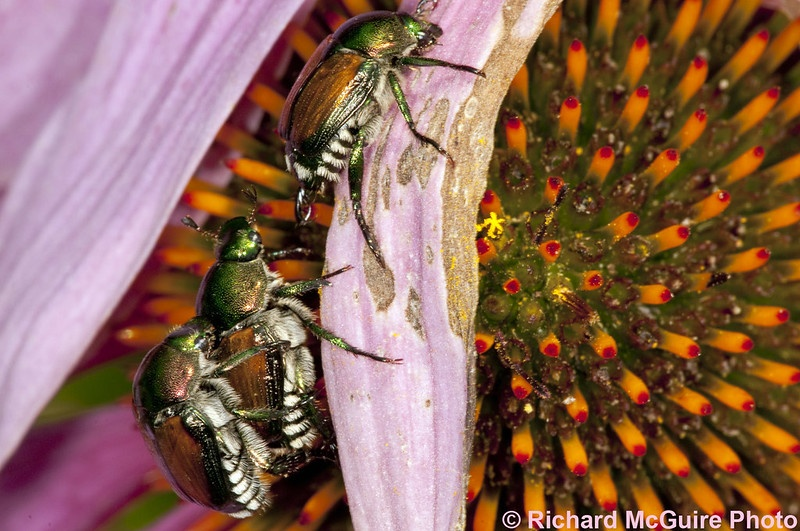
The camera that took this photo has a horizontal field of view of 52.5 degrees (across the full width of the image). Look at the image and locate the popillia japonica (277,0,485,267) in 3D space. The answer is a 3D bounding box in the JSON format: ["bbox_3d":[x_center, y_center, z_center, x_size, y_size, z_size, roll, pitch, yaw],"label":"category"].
[{"bbox_3d":[-0.066,-0.180,1.184,0.121,0.378,0.284,14,12,-38],"label":"popillia japonica"}]

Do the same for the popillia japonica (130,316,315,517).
[{"bbox_3d":[-0.256,0.224,1.317,0.255,0.294,0.098,-28,-1,24],"label":"popillia japonica"}]
